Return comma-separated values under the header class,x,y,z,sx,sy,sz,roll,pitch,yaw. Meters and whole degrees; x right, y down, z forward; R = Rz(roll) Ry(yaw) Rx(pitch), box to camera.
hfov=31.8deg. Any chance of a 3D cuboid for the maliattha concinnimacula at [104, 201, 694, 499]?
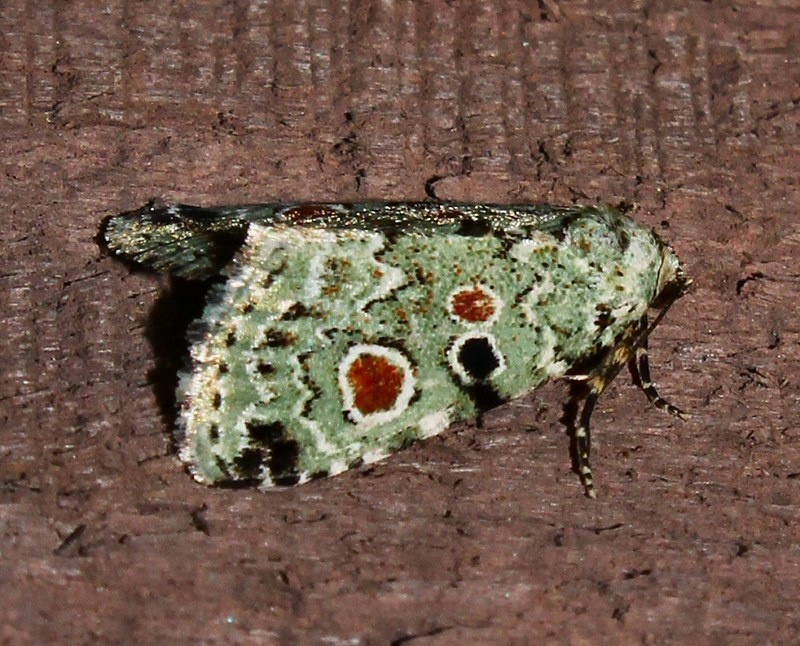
class,x,y,z,sx,sy,sz,roll,pitch,yaw
maliattha concinnimacula,0.044,0.032,4.628,1.593,0.359,0.882,-6,84,-1
